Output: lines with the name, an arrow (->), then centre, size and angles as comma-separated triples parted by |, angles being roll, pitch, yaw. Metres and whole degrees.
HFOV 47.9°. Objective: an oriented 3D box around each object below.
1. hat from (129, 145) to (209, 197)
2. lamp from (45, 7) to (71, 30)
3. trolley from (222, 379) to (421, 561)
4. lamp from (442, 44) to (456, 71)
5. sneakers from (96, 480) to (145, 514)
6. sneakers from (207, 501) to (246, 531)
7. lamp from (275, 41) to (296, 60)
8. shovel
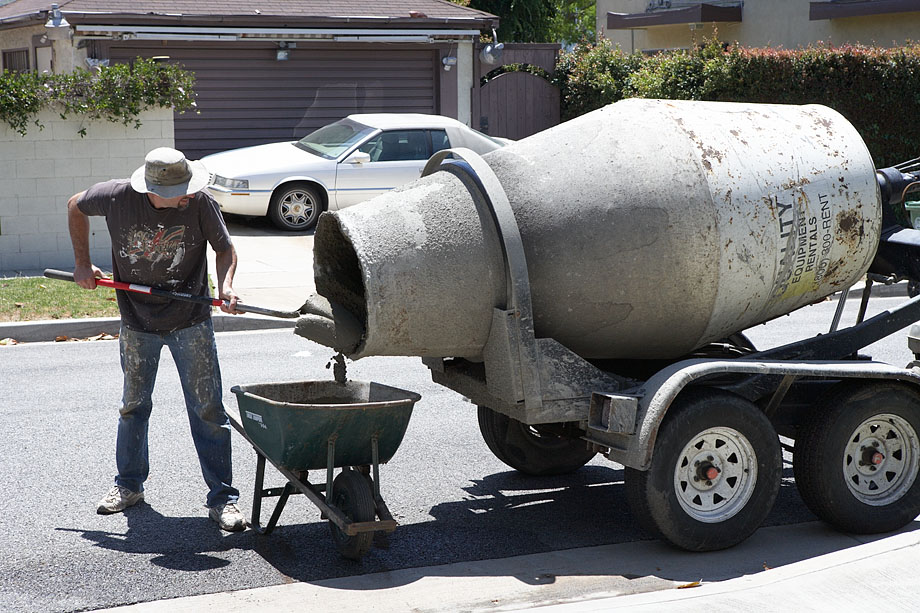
hat -> -2.125, -0.980, 7.551 | 0.414, 0.160, 0.428 | 0, 30, -10
lamp -> -7.680, -5.480, 19.751 | 0.425, 0.436, 0.461 | -6, 14, -18
trolley -> -1.106, 1.174, 7.952 | 1.152, 1.180, 2.333 | 2, 3, -24
lamp -> -0.228, -5.662, 23.627 | 0.313, 0.552, 0.537 | 6, -5, -19
sneakers -> -2.618, 1.463, 8.038 | 0.367, 0.175, 0.172 | -2, 7, -44
sneakers -> -1.749, 1.553, 7.747 | 0.316, 0.140, 0.139 | 13, 13, 42
lamp -> -3.695, -5.433, 21.923 | 0.430, 0.491, 0.265 | 3, 11, -7
shovel -> -2.537, 0.089, 9.824 | 2.627, 0.414, 0.463 | 14, 9, 0
